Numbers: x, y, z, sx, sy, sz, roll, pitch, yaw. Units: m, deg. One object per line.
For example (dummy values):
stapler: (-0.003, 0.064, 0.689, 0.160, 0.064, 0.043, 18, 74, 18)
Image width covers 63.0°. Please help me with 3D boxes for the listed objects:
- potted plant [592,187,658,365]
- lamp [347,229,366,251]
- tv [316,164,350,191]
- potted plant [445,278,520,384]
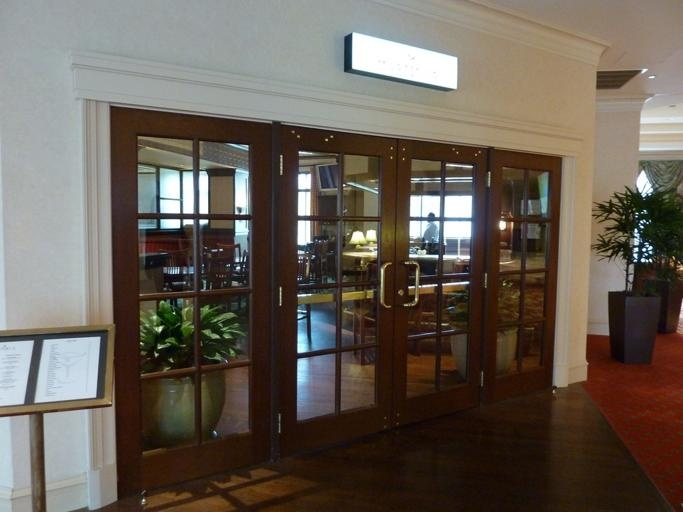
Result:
potted plant: (3.584, 0.088, 7.144, 0.769, 1.983, 2.162, 6, 12, 24)
lamp: (0.116, -0.121, 4.354, 0.126, 0.125, 0.133, 7, 25, 14)
tv: (-0.080, -0.596, 4.213, 0.199, 0.211, 0.026, -2, 1, -27)
potted plant: (1.239, 0.658, 5.342, 0.762, 0.920, 0.795, 0, 1, -3)
